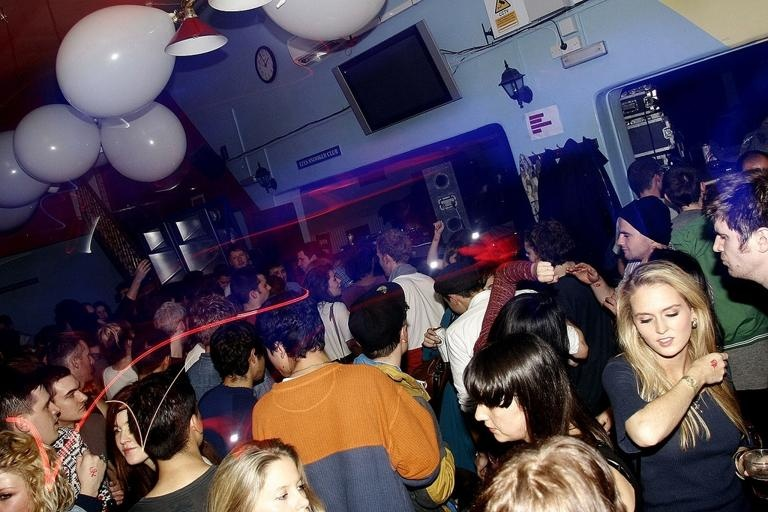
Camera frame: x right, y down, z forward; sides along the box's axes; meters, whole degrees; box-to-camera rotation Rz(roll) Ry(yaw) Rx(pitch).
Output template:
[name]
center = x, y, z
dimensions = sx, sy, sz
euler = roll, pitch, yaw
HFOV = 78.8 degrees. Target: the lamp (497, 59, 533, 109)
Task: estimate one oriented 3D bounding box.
[lamp]
center = 1.487, -1.941, 5.319
dimensions = 0.300, 0.605, 0.310
euler = -29, 17, -19
